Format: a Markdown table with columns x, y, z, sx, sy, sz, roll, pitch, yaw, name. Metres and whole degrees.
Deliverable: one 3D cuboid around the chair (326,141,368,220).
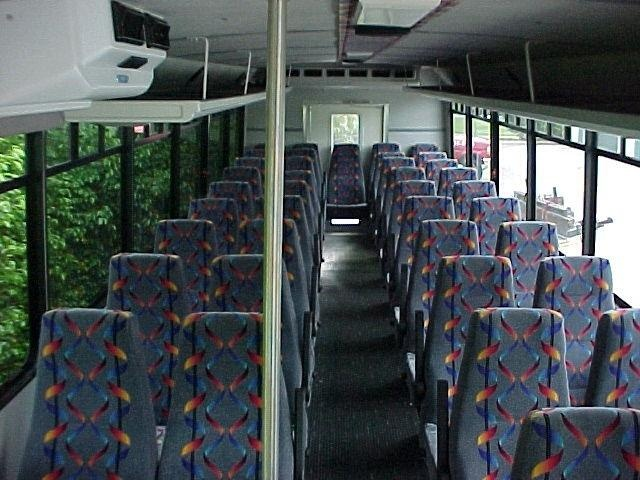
| x | y | z | sx | sy | sz | roll | pitch | yaw | name |
| --- | --- | --- | --- | --- | --- | --- | --- | --- | --- |
| 0.531 | -1.164 | 10.687 | 0.822 | 1.557 | 0.503 | 0 | 4 | -1 | chair |
